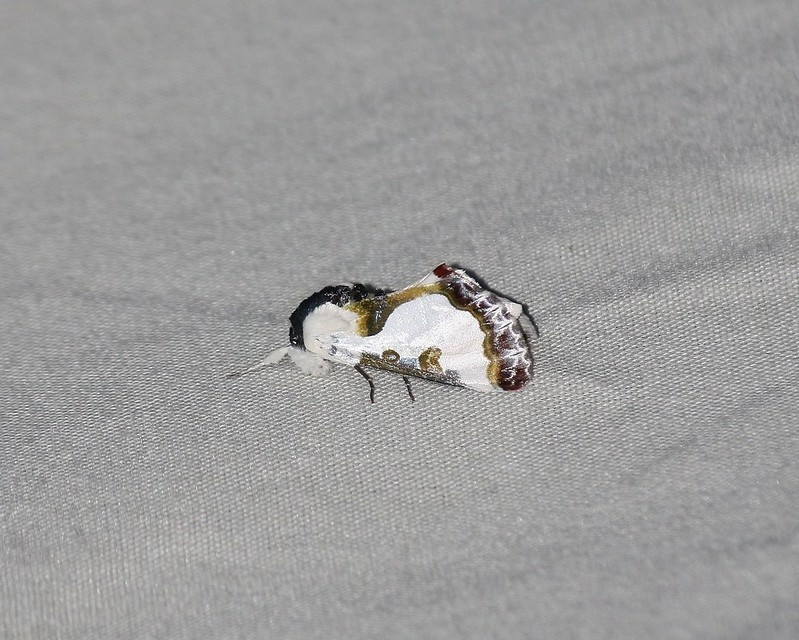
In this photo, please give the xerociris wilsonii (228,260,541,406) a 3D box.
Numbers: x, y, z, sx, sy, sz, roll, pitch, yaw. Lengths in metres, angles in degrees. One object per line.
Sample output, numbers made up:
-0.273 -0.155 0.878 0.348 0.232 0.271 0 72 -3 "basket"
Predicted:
0.003 -0.001 1.899 0.572 0.154 0.183 5 108 36 "xerociris wilsonii"
